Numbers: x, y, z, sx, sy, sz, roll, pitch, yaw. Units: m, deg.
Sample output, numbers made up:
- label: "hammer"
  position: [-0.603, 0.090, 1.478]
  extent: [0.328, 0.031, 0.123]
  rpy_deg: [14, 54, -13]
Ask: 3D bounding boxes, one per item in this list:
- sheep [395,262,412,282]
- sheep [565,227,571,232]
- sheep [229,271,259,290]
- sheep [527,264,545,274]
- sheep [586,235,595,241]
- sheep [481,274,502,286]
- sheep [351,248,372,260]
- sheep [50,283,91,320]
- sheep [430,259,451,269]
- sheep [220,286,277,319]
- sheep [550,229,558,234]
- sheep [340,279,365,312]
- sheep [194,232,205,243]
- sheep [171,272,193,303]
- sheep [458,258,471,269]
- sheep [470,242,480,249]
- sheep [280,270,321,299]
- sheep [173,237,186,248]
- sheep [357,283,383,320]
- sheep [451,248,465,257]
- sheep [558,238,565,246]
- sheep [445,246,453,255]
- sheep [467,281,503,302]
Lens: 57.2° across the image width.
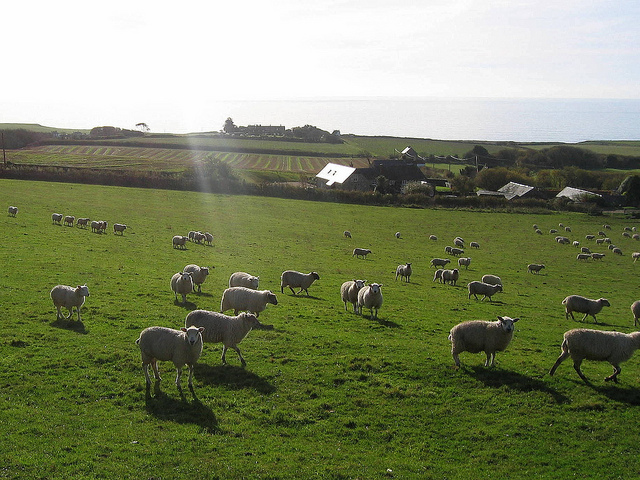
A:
- label: "sheep"
  position: [6.840, 2.599, 48.497]
  extent: [1.099, 1.613, 1.968]
  rpy_deg: [3, 8, -8]
- label: "sheep"
  position: [36.313, -1.539, 86.979]
  extent: [0.556, 0.687, 1.206]
  rpy_deg: [1, 9, 20]
- label: "sheep"
  position: [-4.631, 2.553, 36.986]
  extent: [2.191, 1.216, 0.800]
  rpy_deg: [5, 4, 42]
- label: "sheep"
  position: [20.533, 2.776, 56.720]
  extent: [1.251, 0.752, 0.970]
  rpy_deg: [7, 8, 20]
- label: "sheep"
  position: [36.392, -0.251, 80.106]
  extent: [0.815, 0.684, 2.027]
  rpy_deg: [8, 8, 23]
- label: "sheep"
  position: [13.807, 3.185, 47.722]
  extent: [1.599, 1.145, 0.721]
  rpy_deg: [6, 7, -3]
- label: "sheep"
  position: [3.788, 1.277, 58.168]
  extent: [1.288, 0.830, 2.410]
  rpy_deg: [-3, 11, -44]
- label: "sheep"
  position: [-13.667, 3.345, 32.324]
  extent: [2.412, 2.281, 1.013]
  rpy_deg: [9, 6, 21]
- label: "sheep"
  position: [11.074, 2.269, 55.159]
  extent: [1.525, 0.917, 1.374]
  rpy_deg: [6, 8, 10]
- label: "sheep"
  position: [-4.156, 3.720, 33.697]
  extent: [3.568, 2.074, 1.250]
  rpy_deg: [3, 5, 16]
- label: "sheep"
  position: [32.793, -1.213, 83.419]
  extent: [1.177, 0.677, 0.383]
  rpy_deg: [-2, 12, -27]
- label: "sheep"
  position: [2.163, 3.670, 38.520]
  extent: [1.163, 2.161, 3.762]
  rpy_deg: [-2, -3, -12]
- label: "sheep"
  position: [-11.891, -0.208, 57.833]
  extent: [0.976, 0.922, 0.692]
  rpy_deg: [3, 7, -9]
- label: "sheep"
  position: [-8.542, 2.990, 36.560]
  extent: [1.132, 1.850, 2.805]
  rpy_deg: [5, -7, -24]
- label: "sheep"
  position: [13.473, 2.237, 55.673]
  extent: [0.894, 0.978, 1.465]
  rpy_deg: [7, 8, 20]
- label: "sheep"
  position: [17.615, 0.628, 68.182]
  extent: [0.923, 0.651, 1.746]
  rpy_deg: [11, 10, 42]
- label: "sheep"
  position: [-1.560, 2.962, 40.737]
  extent: [2.226, 1.709, 2.093]
  rpy_deg: [3, 8, -8]
- label: "sheep"
  position: [-12.821, 0.222, 53.352]
  extent: [1.017, 0.931, 0.651]
  rpy_deg: [2, 7, -15]
- label: "sheep"
  position: [3.087, 3.697, 36.507]
  extent: [1.131, 2.359, 2.240]
  rpy_deg: [2, 8, -13]
- label: "sheep"
  position: [14.238, 1.355, 62.036]
  extent: [1.112, 0.883, 1.171]
  rpy_deg: [6, 8, 12]
- label: "sheep"
  position: [30.481, 0.185, 74.894]
  extent: [0.753, 0.573, 0.660]
  rpy_deg: [7, 8, 19]
- label: "sheep"
  position: [13.615, 1.165, 63.031]
  extent: [0.761, 0.815, 1.719]
  rpy_deg: [6, 8, 10]
- label: "sheep"
  position: [12.037, 3.875, 43.897]
  extent: [2.247, 1.281, 1.623]
  rpy_deg: [4, 7, -1]
